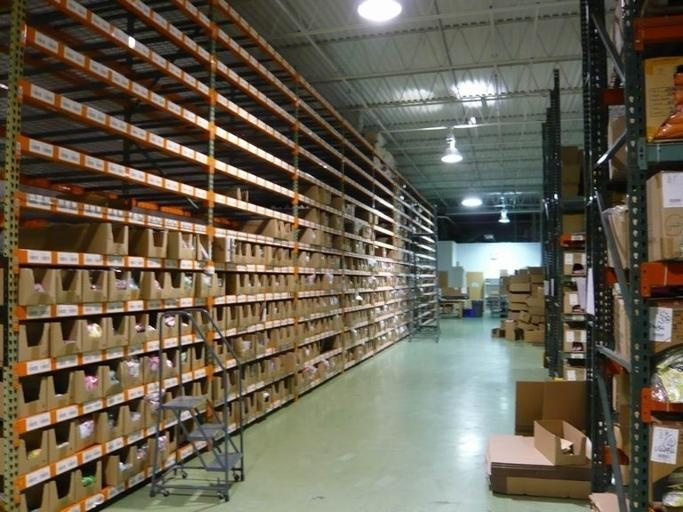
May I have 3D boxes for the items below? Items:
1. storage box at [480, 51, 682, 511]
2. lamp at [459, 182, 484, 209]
[{"bbox_3d":[1.833,0.247,4.292,1.107,3.690,2.360,-4,-5,11],"label":"storage box"},{"bbox_3d":[5.948,-2.861,24.604,1.273,1.417,1.281,3,4,21],"label":"lamp"}]
